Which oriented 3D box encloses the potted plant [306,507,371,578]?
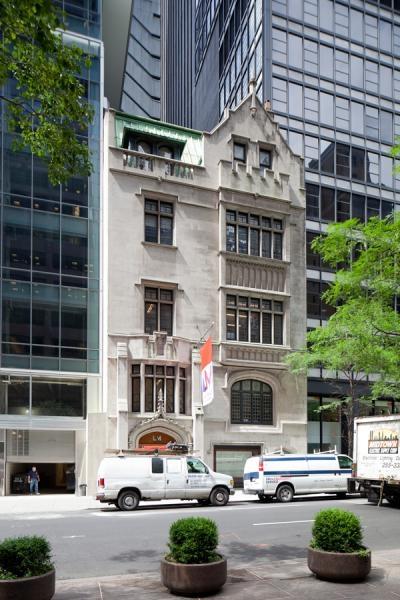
[{"bbox_3d":[2.808,4.921,19.000,1.225,1.382,1.144,-1,-7,25],"label":"potted plant"}]

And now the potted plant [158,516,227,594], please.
[{"bbox_3d":[-0.150,4.967,18.423,1.158,1.441,1.300,2,-7,-17],"label":"potted plant"}]

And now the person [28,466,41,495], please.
[{"bbox_3d":[-6.873,7.512,39.262,0.458,1.135,2.452,1,-10,-9],"label":"person"}]
